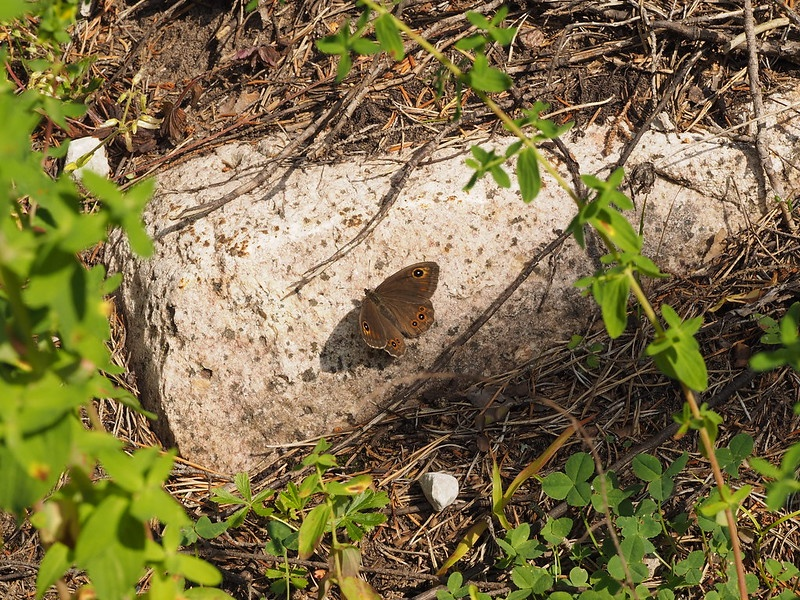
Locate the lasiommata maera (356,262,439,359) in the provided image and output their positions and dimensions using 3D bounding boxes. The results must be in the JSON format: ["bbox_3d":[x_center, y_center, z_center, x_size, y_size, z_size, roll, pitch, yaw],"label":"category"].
[{"bbox_3d":[0.011,0.074,4.354,0.441,0.290,0.380,-13,65,3],"label":"lasiommata maera"}]
